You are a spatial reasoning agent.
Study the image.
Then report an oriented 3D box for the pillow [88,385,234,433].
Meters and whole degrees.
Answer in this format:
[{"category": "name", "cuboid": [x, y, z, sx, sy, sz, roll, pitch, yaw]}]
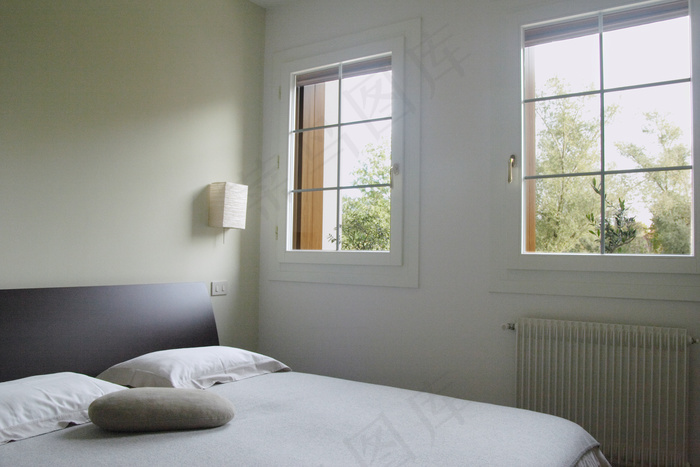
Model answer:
[{"category": "pillow", "cuboid": [-0.858, 0.808, 2.173, 0.500, 0.140, 0.257, 7, -12, -13]}]
